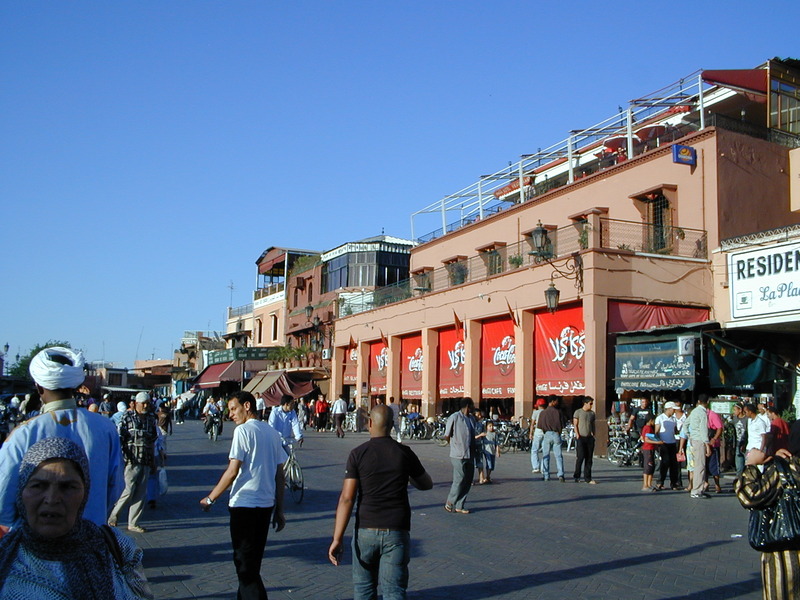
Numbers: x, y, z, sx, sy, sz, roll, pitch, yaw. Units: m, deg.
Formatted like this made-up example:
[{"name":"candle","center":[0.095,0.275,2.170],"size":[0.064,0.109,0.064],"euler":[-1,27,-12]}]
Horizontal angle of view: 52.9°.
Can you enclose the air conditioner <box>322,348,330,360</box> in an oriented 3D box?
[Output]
[{"name":"air conditioner","center":[-4.220,3.080,46.956],"size":[0.508,0.476,0.842],"euler":[1,-9,-6]}]

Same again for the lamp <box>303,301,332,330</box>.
[{"name":"lamp","center":[-4.980,0.812,50.293],"size":[0.951,1.663,3.549],"euler":[1,-10,-3]}]

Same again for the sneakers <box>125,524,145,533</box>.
[{"name":"sneakers","center":[-3.973,3.433,12.104],"size":[0.108,0.099,0.230],"euler":[3,-1,25]}]

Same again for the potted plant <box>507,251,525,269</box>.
[{"name":"potted plant","center":[4.544,-1.547,31.101],"size":[0.354,0.661,0.856],"euler":[2,-9,-17]}]

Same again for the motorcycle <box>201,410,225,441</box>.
[{"name":"motorcycle","center":[-7.874,5.379,34.682],"size":[0.888,1.223,2.004],"euler":[3,-13,-18]}]
